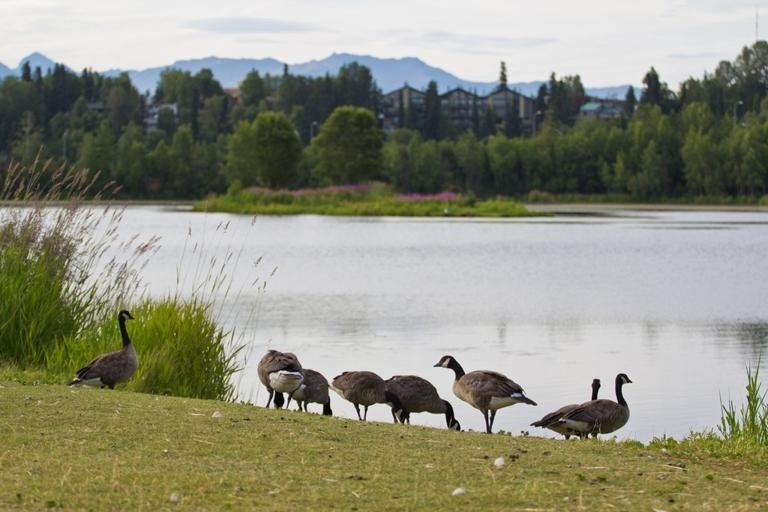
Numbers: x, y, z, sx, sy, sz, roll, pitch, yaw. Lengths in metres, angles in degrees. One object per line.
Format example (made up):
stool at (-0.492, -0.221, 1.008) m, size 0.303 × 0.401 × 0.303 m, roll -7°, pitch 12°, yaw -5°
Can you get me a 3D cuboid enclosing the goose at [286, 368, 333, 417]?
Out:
goose at (-3.532, 6.910, 65.545) m, size 1.081 × 2.340 × 3.426 m, roll 5°, pitch -8°, yaw 39°
